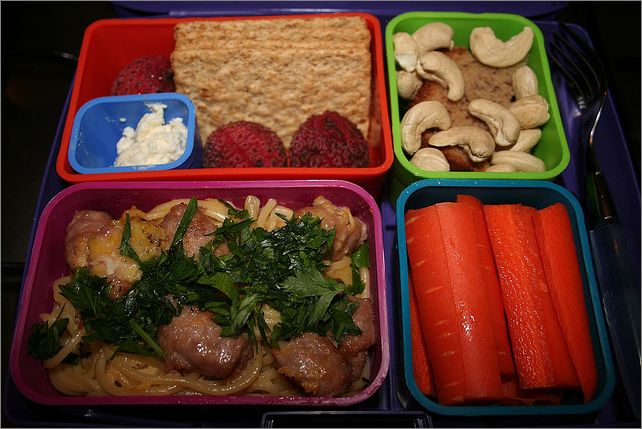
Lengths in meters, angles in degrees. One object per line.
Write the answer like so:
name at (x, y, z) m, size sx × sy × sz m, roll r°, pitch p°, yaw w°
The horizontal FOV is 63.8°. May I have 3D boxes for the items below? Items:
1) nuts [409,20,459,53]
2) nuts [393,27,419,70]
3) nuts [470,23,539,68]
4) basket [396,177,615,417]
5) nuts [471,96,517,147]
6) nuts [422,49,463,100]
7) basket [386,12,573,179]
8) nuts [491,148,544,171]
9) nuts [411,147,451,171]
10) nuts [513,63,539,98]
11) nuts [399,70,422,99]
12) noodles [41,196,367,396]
nuts at (0.566, -0.911, 2.645) m, size 0.187 × 0.066 × 0.157 m, roll -13°, pitch 86°, yaw -3°
nuts at (0.426, -0.818, 2.573) m, size 0.114 × 0.059 × 0.194 m, roll -9°, pitch 90°, yaw -1°
nuts at (0.926, -0.895, 2.684) m, size 0.228 × 0.200 × 0.313 m, roll -12°, pitch 27°, yaw -25°
basket at (0.844, 0.483, 2.447) m, size 0.756 × 1.232 × 0.765 m, roll -1°, pitch 19°, yaw 3°
nuts at (0.853, -0.468, 2.532) m, size 0.198 × 0.221 × 0.235 m, roll -37°, pitch 36°, yaw -29°
nuts at (0.621, -0.711, 2.586) m, size 0.280 × 0.099 × 0.141 m, roll 43°, pitch 73°, yaw 12°
basket at (0.931, -0.546, 2.879) m, size 0.842 × 0.264 × 0.924 m, roll -2°, pitch 79°, yaw -2°
nuts at (0.965, -0.258, 2.533) m, size 0.221 × 0.083 × 0.108 m, roll 13°, pitch 71°, yaw 6°
nuts at (0.525, -0.261, 2.449) m, size 0.140 × 0.081 × 0.125 m, roll 21°, pitch 64°, yaw 9°
nuts at (1.038, -0.669, 2.601) m, size 0.094 × 0.117 × 0.171 m, roll -5°, pitch 74°, yaw -47°
nuts at (0.452, -0.635, 2.581) m, size 0.105 × 0.143 × 0.051 m, roll -22°, pitch 33°, yaw -7°
noodles at (-0.489, 0.333, 2.266) m, size 1.459 × 0.307 × 0.870 m, roll 2°, pitch 70°, yaw -2°
